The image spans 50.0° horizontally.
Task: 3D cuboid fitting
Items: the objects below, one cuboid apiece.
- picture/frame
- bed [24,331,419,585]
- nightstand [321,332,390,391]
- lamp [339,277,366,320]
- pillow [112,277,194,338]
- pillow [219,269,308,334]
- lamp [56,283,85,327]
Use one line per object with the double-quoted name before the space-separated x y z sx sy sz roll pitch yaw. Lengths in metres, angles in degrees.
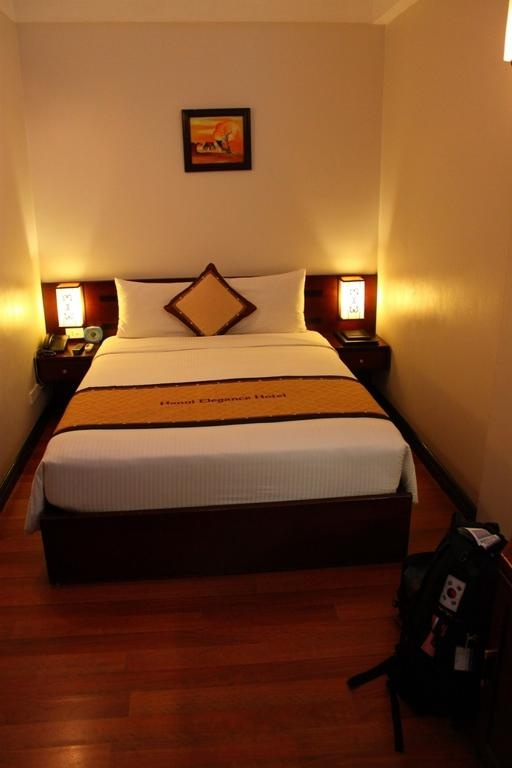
"picture/frame" -0.284 -1.666 3.690 0.381 0.331 0.027 -1 18 -2
"bed" -0.155 0.279 2.747 1.528 0.655 1.423 -2 15 -5
"nightstand" 0.689 -0.181 4.082 0.517 0.494 0.411 -2 42 -1
"lamp" 0.708 -0.625 4.041 0.207 0.315 0.139 0 14 2
"pillow" -0.749 -0.618 3.832 0.397 0.220 0.579 -23 1 -30
"pillow" 0.037 -0.545 3.675 0.455 0.353 0.165 -1 -22 -3
"lamp" -1.312 -0.547 3.857 0.171 0.309 0.108 -4 14 -12
